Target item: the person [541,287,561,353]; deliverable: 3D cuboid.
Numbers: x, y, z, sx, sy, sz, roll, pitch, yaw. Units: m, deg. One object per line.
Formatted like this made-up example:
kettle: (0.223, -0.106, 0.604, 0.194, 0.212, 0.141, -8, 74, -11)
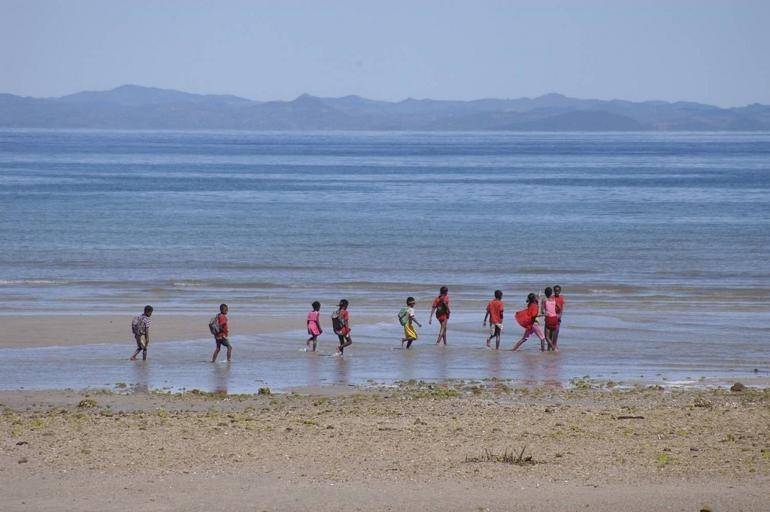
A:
person: (8.262, 3.269, 85.081, 0.870, 3.183, 0.878, 1, 10, 4)
